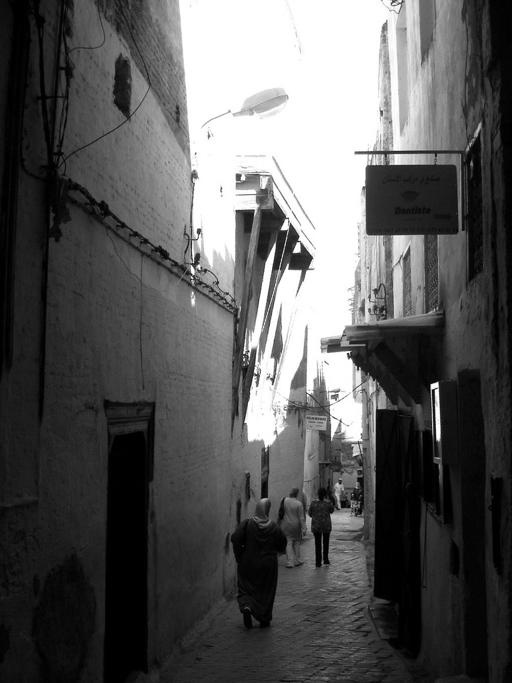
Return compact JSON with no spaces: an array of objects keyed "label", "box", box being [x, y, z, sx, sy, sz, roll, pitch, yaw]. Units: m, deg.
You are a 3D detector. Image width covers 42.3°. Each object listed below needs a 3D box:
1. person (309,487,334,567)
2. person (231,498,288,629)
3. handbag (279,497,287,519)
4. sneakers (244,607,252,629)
[{"label":"person","box":[1.302,3.577,13.038,0.320,1.764,0.420,-4,21,-2]},{"label":"person","box":[0.022,2.765,8.273,0.645,1.516,0.567,1,-6,-5]},{"label":"handbag","box":[0.516,3.372,13.253,0.178,0.461,0.359,1,-9,2]},{"label":"sneakers","box":[-0.100,3.358,8.003,0.062,0.324,0.156,-1,-6,3]}]
